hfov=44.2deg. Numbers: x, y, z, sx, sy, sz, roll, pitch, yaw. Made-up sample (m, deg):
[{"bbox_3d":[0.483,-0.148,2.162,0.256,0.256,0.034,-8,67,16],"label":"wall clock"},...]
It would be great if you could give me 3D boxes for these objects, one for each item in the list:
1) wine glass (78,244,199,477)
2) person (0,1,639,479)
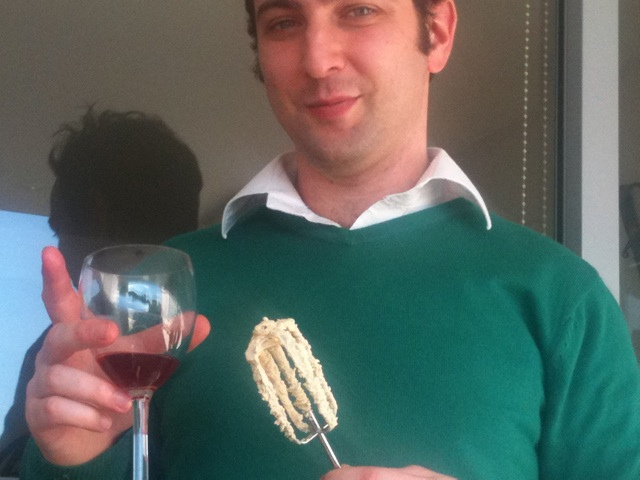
[{"bbox_3d":[-0.390,0.251,1.704,0.248,0.504,0.135,0,-16,-21],"label":"wine glass"},{"bbox_3d":[-0.083,0.005,2.103,0.891,1.551,0.782,-4,-22,14],"label":"person"}]
